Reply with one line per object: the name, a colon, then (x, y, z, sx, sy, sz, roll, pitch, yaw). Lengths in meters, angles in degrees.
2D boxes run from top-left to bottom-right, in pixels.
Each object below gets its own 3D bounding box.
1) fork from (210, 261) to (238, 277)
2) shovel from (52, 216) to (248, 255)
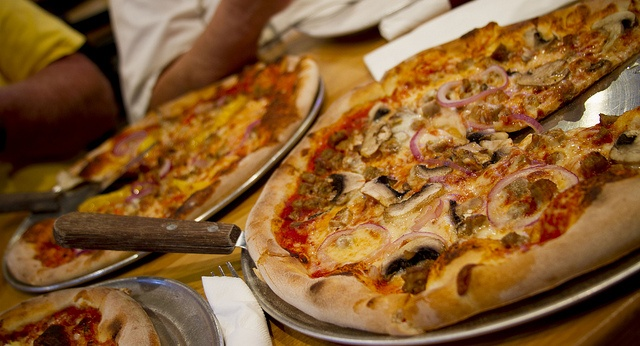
fork: (-0.487, 0.512, 2.960, 0.077, 0.023, 0.129, -15, 27, -20)
shovel: (-0.888, 0.335, 3.014, 1.005, 0.186, 0.210, 6, 28, -4)
